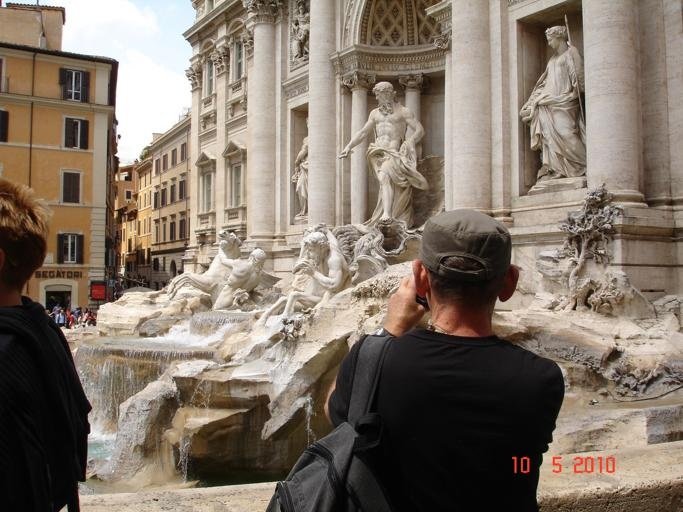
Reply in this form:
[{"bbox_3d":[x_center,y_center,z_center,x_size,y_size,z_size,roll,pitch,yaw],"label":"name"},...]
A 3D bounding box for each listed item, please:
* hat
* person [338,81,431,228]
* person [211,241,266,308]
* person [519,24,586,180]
[{"bbox_3d":[0.632,-0.052,3.665,0.326,0.232,0.439,8,38,6],"label":"hat"},{"bbox_3d":[1.243,-2.456,17.794,1.587,3.354,0.996,-3,-1,5],"label":"person"},{"bbox_3d":[-2.638,0.589,18.802,1.318,1.370,0.533,-2,-1,-19],"label":"person"},{"bbox_3d":[4.058,-2.844,13.719,0.438,2.919,1.202,-2,-1,-42],"label":"person"}]
